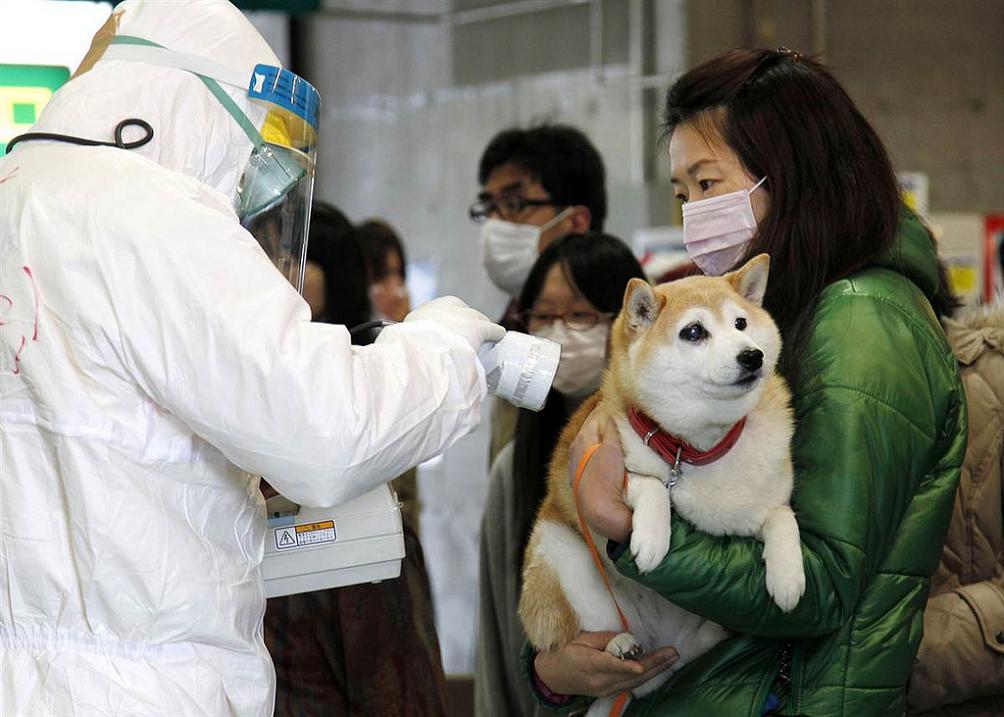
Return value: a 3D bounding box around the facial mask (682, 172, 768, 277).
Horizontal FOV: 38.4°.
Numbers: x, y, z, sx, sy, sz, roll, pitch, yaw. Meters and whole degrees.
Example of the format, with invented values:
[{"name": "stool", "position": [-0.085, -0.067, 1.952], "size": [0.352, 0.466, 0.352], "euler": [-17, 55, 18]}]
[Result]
[{"name": "facial mask", "position": [0.660, -0.411, 4.479], "size": [0.165, 0.290, 0.154], "euler": [-6, 17, -17]}]
